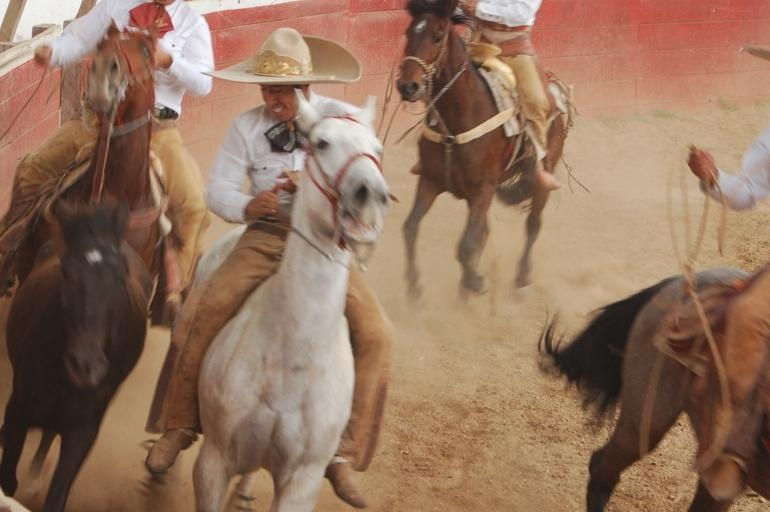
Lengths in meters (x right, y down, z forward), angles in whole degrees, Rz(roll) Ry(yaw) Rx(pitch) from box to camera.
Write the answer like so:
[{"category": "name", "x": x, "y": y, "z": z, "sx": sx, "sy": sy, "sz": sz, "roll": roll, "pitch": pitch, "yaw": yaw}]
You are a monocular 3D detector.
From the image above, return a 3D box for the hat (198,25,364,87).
[{"category": "hat", "x": -0.489, "y": -1.020, "z": 4.362, "sx": 0.767, "sy": 0.265, "sz": 0.758, "roll": 10, "pitch": 18, "yaw": -1}]

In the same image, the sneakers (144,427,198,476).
[{"category": "sneakers", "x": -1.160, "y": 1.062, "z": 4.665, "sx": 0.111, "sy": 0.299, "sz": 0.126, "roll": 46, "pitch": 11, "yaw": -8}]
